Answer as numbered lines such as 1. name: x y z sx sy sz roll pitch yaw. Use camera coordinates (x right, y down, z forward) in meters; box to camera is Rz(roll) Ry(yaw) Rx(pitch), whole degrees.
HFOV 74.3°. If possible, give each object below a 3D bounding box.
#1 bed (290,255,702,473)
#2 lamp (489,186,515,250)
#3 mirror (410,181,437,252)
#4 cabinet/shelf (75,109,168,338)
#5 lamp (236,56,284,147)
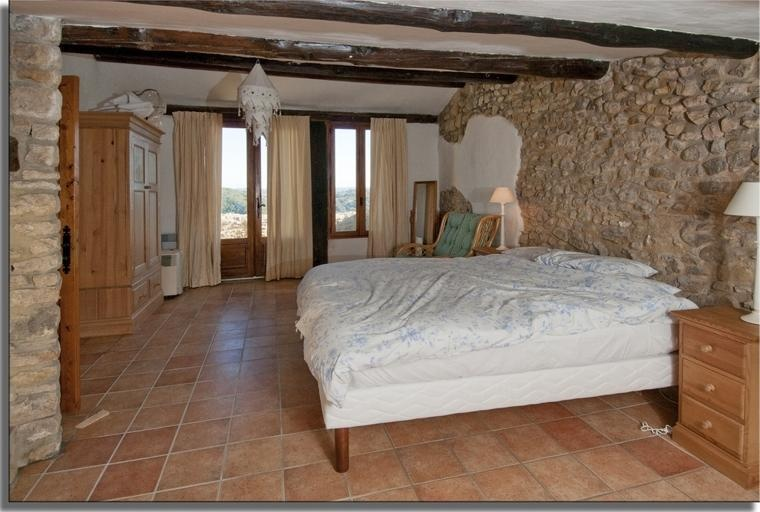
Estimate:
1. bed: 0.703 0.558 3.724 2.055 0.601 1.823 0 4 -13
2. lamp: 1.415 -0.449 5.877 0.257 0.708 0.749 0 14 14
3. mirror: 0.671 -0.806 7.691 0.437 0.627 0.032 -6 12 -34
4. cabinet/shelf: -2.698 -0.387 5.286 0.571 2.189 1.279 -3 14 4
5. lamp: -1.068 -1.436 4.385 0.323 0.715 0.319 8 14 33
